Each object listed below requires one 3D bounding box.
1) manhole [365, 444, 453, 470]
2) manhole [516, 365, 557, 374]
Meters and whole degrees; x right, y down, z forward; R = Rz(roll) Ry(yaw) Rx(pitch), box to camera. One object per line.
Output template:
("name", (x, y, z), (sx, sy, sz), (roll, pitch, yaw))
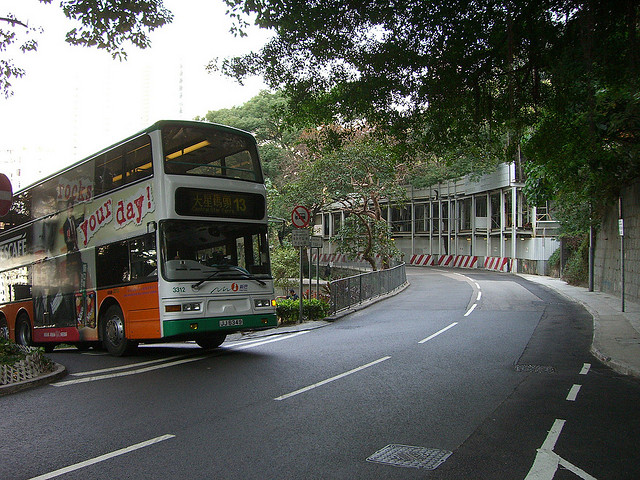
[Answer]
("manhole", (1.153, 2.773, 6.714), (1.028, 0.084, 0.647), (-5, -2, 16))
("manhole", (4.599, 2.740, 11.116), (0.804, 0.081, 0.839), (-4, -2, 12))
